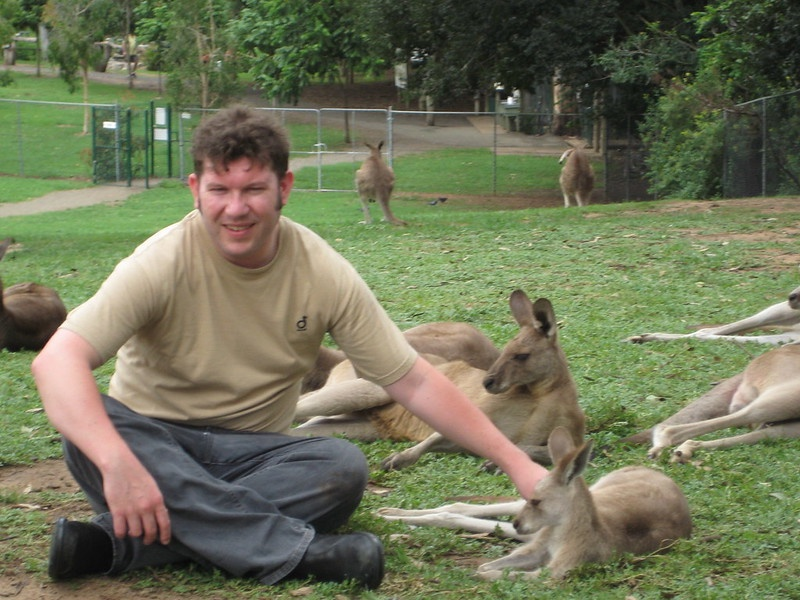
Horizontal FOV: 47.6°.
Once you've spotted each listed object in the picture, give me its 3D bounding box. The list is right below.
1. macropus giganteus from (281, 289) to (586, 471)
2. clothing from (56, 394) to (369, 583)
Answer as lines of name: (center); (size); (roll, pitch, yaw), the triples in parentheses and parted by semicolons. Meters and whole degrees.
macropus giganteus: (0.721, 0.617, 5.778); (1.319, 1.066, 2.429); (13, -15, 15)
clothing: (-0.854, 0.774, 4.106); (1.340, 0.376, 1.198); (2, 9, 2)
